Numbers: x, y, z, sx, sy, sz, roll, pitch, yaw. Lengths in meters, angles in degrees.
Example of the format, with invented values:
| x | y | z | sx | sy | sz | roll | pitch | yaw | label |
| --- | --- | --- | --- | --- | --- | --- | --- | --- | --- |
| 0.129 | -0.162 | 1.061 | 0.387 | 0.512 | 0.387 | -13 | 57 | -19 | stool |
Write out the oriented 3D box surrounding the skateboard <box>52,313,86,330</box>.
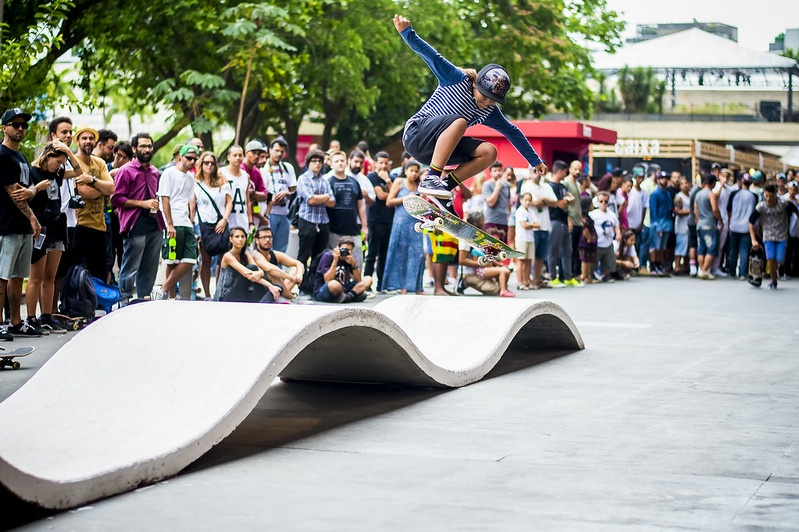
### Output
| x | y | z | sx | sy | sz | roll | pitch | yaw | label |
| --- | --- | --- | --- | --- | --- | --- | --- | --- | --- |
| -4.129 | 0.694 | 13.651 | 0.398 | 0.181 | 0.302 | 1 | 14 | 6 | skateboard |
